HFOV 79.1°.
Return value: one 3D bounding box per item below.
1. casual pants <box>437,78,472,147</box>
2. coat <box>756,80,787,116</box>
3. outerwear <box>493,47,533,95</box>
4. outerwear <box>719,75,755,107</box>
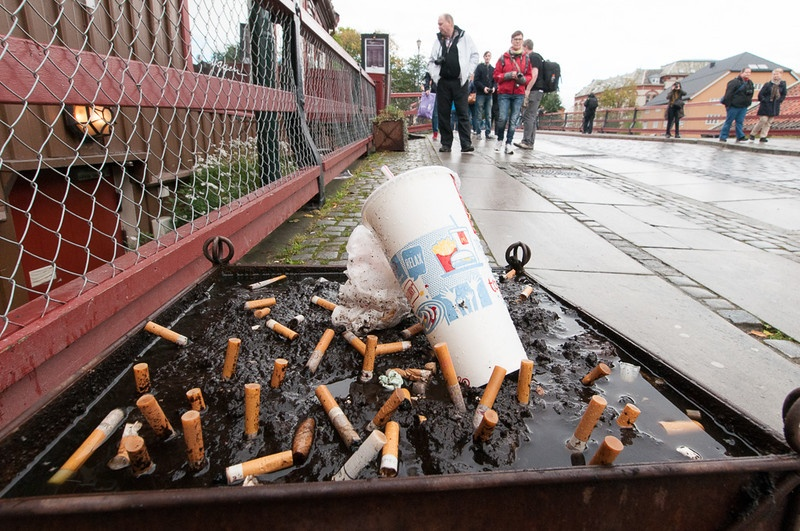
[{"bbox_3d":[1.026,-2.933,9.187,0.589,1.391,0.422,6,38,14],"label":"casual pants"},{"bbox_3d":[10.160,-4.556,13.344,0.554,0.945,0.624,15,25,31],"label":"coat"},{"bbox_3d":[2.196,-3.733,9.488,0.719,0.809,0.601,5,21,10],"label":"outerwear"},{"bbox_3d":[9.340,-4.757,13.451,0.643,0.827,0.649,13,24,29],"label":"outerwear"}]
